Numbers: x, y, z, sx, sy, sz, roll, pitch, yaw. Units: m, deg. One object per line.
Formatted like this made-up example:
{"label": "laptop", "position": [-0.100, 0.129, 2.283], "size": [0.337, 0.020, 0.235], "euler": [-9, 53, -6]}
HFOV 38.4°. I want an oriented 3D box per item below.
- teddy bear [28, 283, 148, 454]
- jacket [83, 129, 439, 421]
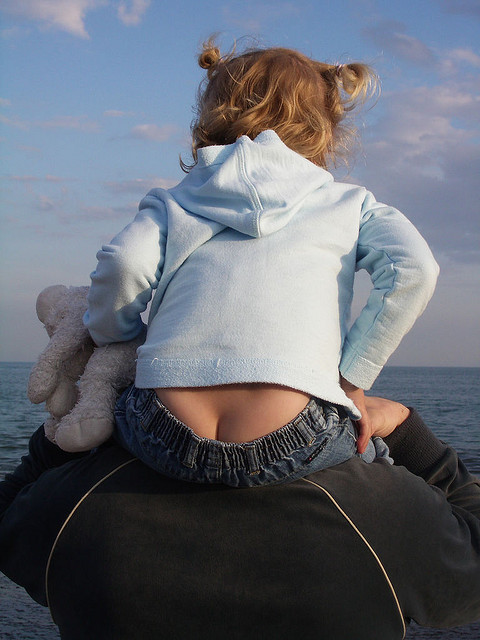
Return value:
{"label": "teddy bear", "position": [-0.551, 0.192, 2.606], "size": [0.546, 0.597, 0.671], "euler": [3, 71, -11]}
{"label": "jacket", "position": [0.058, -0.199, 2.580], "size": [1.146, 1.049, 0.751], "euler": [7, -2, 9]}
